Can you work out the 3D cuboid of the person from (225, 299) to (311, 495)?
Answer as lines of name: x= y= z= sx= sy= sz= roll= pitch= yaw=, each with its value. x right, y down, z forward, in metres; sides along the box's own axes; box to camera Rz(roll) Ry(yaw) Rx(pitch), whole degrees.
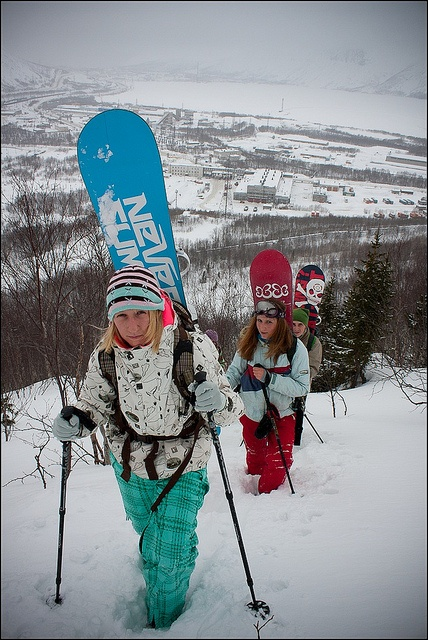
person: x=0.511 y=0.889 z=5.331 sx=0.832 sy=2.209 sz=0.739 roll=4 pitch=17 yaw=17

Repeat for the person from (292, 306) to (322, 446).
person: x=1.049 y=0.560 z=5.929 sx=0.348 sy=1.646 sz=0.238 roll=6 pitch=2 yaw=12

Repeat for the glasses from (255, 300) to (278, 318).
glasses: x=0.512 y=-0.111 z=5.035 sx=0.248 sy=0.146 sz=0.168 roll=4 pitch=18 yaw=19

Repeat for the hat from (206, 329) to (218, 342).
hat: x=0.009 y=0.106 z=3.810 sx=0.066 sy=0.087 sz=0.070 roll=-3 pitch=43 yaw=52

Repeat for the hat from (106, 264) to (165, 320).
hat: x=-0.528 y=-0.144 z=3.492 sx=0.323 sy=0.323 sz=0.360 roll=-8 pitch=-10 yaw=-4

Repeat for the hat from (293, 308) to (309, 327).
hat: x=1.003 y=-0.045 z=5.920 sx=0.143 sy=0.201 sz=0.170 roll=1 pitch=61 yaw=14

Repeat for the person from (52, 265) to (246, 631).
person: x=-0.398 y=0.783 z=3.605 sx=0.922 sy=2.277 sz=0.884 roll=11 pitch=21 yaw=39

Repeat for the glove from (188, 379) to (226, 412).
glove: x=-0.042 y=0.491 z=3.298 sx=0.163 sy=0.225 sz=0.106 roll=-36 pitch=6 yaw=-10

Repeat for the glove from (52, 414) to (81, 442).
glove: x=-1.003 y=0.749 z=3.609 sx=0.141 sy=0.196 sz=0.191 roll=-2 pitch=-3 yaw=2

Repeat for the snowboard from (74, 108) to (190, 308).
snowboard: x=-0.796 y=-0.973 z=5.041 sx=0.528 sy=2.628 sz=0.263 roll=-3 pitch=60 yaw=1
